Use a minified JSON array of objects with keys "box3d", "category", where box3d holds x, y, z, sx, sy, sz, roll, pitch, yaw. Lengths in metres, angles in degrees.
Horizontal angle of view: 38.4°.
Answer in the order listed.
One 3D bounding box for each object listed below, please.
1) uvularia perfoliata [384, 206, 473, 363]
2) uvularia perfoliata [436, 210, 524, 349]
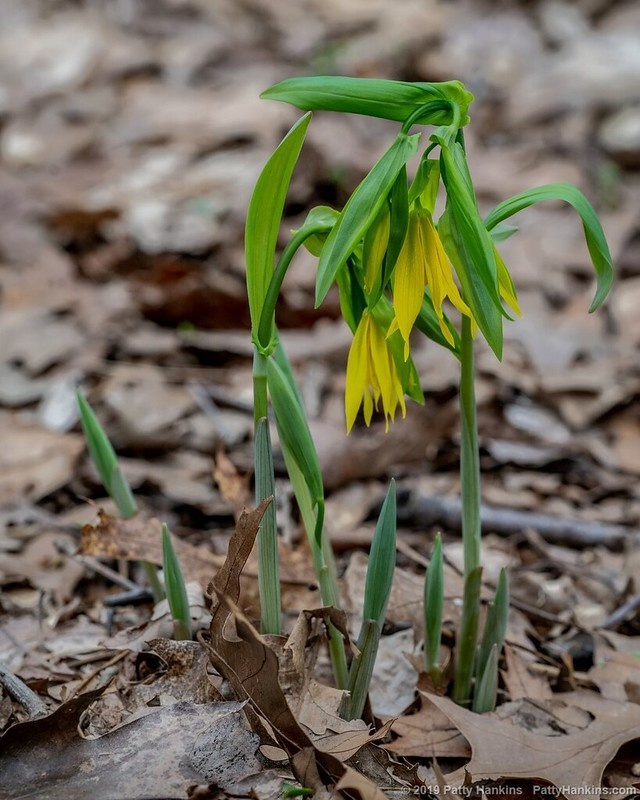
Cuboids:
[{"box3d":[0.147,-0.171,1.312,0.155,0.200,0.131,-6,1,13],"category":"uvularia perfoliata"},{"box3d":[0.224,-0.142,1.265,0.067,0.243,0.030,-18,22,33],"category":"uvularia perfoliata"}]
